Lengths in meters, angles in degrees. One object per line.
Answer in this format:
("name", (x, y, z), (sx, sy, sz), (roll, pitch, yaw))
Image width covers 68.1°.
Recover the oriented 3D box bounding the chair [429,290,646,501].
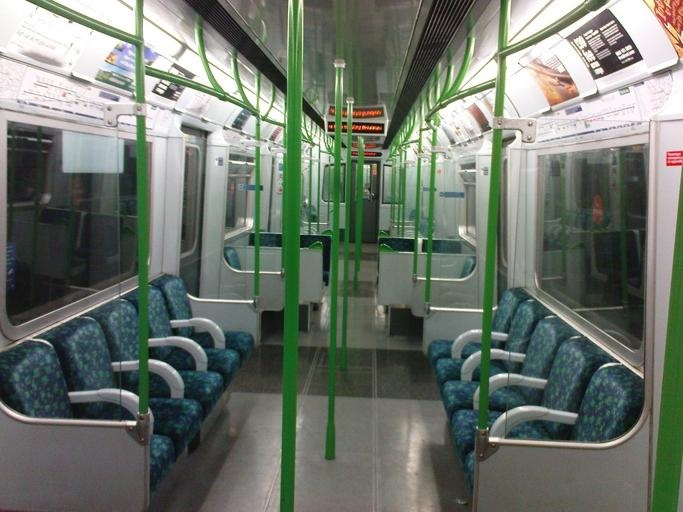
("chair", (1.232, 0.777, 3.497), (0.869, 1.087, 1.773), (2, 11, 0))
